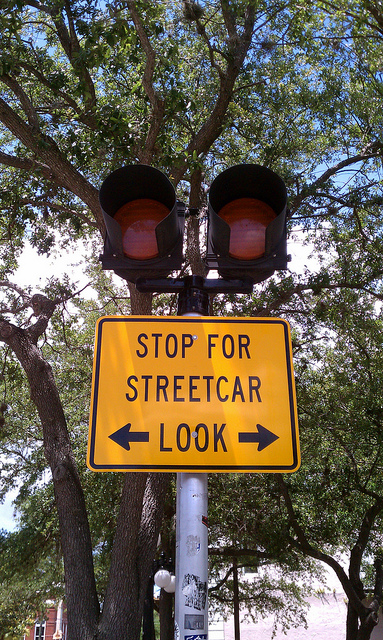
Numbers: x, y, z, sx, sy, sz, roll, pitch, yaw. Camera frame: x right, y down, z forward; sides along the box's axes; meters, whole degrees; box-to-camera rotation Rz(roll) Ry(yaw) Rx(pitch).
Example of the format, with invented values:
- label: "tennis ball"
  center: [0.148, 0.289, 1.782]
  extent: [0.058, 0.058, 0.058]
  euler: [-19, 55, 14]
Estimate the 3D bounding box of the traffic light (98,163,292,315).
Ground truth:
- label: "traffic light"
  center: [0.018, -0.440, 3.369]
  extent: [1.024, 0.782, 0.481]
  euler: [3, -6, 1]
